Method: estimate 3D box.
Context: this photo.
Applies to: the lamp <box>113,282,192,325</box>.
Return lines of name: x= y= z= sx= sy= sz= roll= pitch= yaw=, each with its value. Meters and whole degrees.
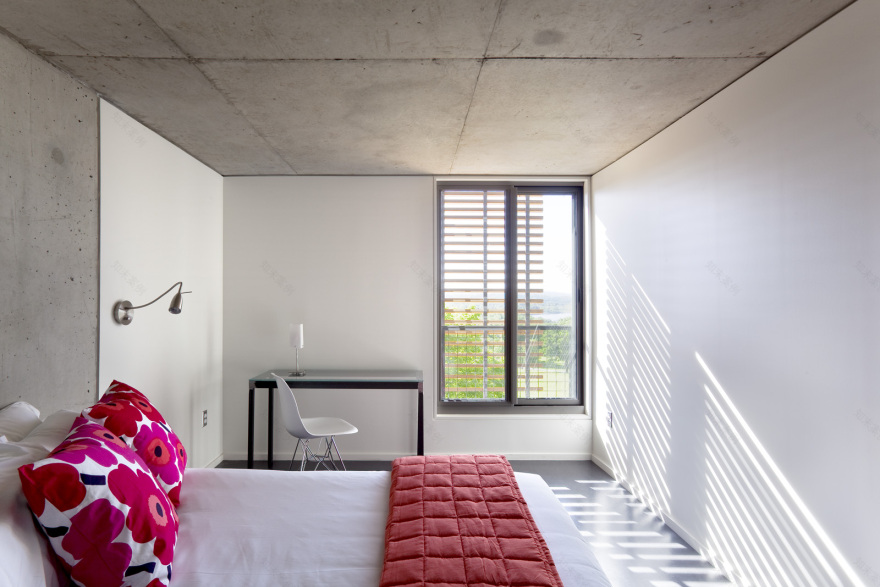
lamp: x=-1.987 y=0.091 z=4.640 sx=0.488 sy=0.235 sz=0.177 roll=-6 pitch=-5 yaw=6

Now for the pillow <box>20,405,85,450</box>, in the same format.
pillow: x=-2.030 y=0.695 z=3.494 sx=0.183 sy=0.056 sz=0.188 roll=3 pitch=18 yaw=2
